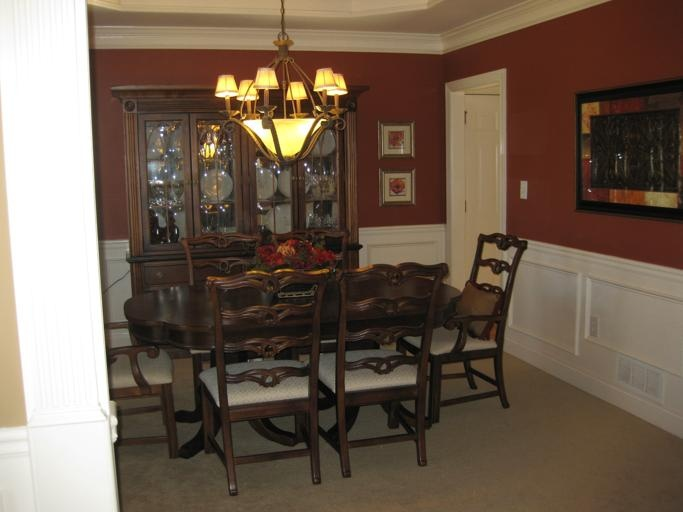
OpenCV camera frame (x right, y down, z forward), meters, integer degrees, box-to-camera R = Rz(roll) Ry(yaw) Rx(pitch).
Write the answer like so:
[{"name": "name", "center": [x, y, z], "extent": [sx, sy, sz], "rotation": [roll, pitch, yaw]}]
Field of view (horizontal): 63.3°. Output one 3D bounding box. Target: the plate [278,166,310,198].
[{"name": "plate", "center": [-0.502, -0.700, 5.090], "extent": [0.271, 0.300, 0.065], "rotation": [7, -2, -6]}]

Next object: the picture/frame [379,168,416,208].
[{"name": "picture/frame", "center": [0.570, -0.734, 5.874], "extent": [0.374, 0.413, 0.028], "rotation": [-2, 6, -20]}]

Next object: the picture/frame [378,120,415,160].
[{"name": "picture/frame", "center": [0.559, -1.231, 5.825], "extent": [0.372, 0.386, 0.030], "rotation": [-4, 6, -25]}]
